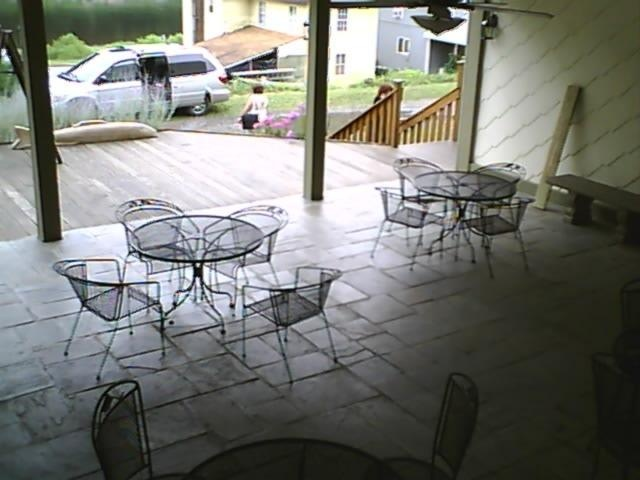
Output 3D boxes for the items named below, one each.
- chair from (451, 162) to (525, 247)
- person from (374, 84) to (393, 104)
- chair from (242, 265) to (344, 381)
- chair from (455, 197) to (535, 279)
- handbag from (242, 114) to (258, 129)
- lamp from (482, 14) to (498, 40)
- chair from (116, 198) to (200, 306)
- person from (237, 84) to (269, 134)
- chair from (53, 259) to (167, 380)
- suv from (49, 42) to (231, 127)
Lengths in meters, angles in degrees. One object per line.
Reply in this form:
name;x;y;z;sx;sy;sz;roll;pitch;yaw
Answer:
chair;2.152;-0.411;6.783;0.911;1.086;0.866;-7;38;-6
person;1.331;-3.068;11.233;0.287;0.349;0.770;4;22;5
chair;-0.239;0.793;4.835;0.672;0.717;0.610;-18;38;-39
chair;2.135;0.006;6.517;0.684;0.795;0.715;-8;35;-7
handbag;-1.578;-2.697;12.087;0.347;0.286;0.154;1;28;-3
lamp;2.789;-3.477;8.665;0.256;0.439;0.271;-10;22;-20
chair;-1.701;0.162;5.562;0.888;1.056;0.840;-17;39;-31
person;-1.504;-3.083;12.287;0.749;0.924;0.751;-1;21;-3
chair;-1.922;0.759;4.819;0.643;0.781;0.755;27;33;35
suv;-3.983;-3.369;11.831;3.831;1.174;1.567;-8;49;-19
